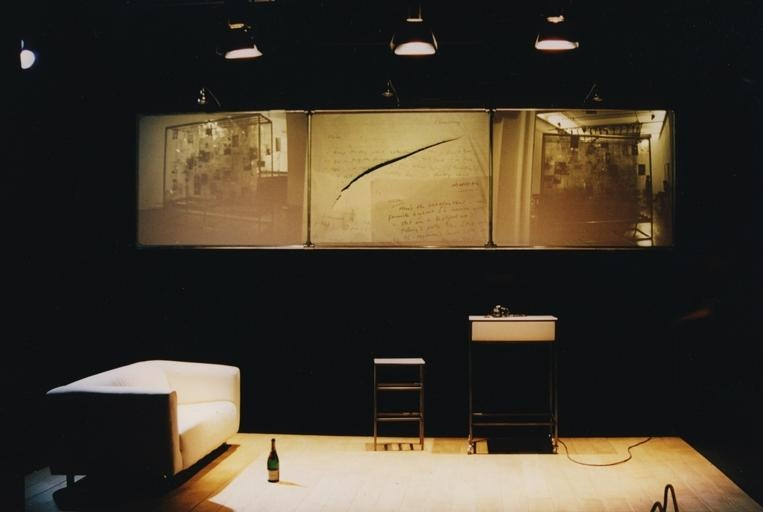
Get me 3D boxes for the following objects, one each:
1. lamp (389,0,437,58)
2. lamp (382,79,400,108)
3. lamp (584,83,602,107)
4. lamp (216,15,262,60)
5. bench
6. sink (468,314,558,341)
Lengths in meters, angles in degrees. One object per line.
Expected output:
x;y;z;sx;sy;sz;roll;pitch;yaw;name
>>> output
0.321;-2.362;6.716;0.549;0.517;0.615;-1;97;-5;lamp
0.103;-1.788;7.104;0.217;0.101;0.287;-4;94;5;lamp
2.316;-1.776;7.066;0.206;0.223;0.243;-1;101;-4;lamp
-1.502;-2.238;6.835;0.416;0.427;0.294;-2;90;-30;lamp
-2.268;1.616;6.363;1.099;1.535;0.924;-1;89;12;bench
1.396;0.775;6.818;0.877;0.127;0.229;0;67;4;sink
